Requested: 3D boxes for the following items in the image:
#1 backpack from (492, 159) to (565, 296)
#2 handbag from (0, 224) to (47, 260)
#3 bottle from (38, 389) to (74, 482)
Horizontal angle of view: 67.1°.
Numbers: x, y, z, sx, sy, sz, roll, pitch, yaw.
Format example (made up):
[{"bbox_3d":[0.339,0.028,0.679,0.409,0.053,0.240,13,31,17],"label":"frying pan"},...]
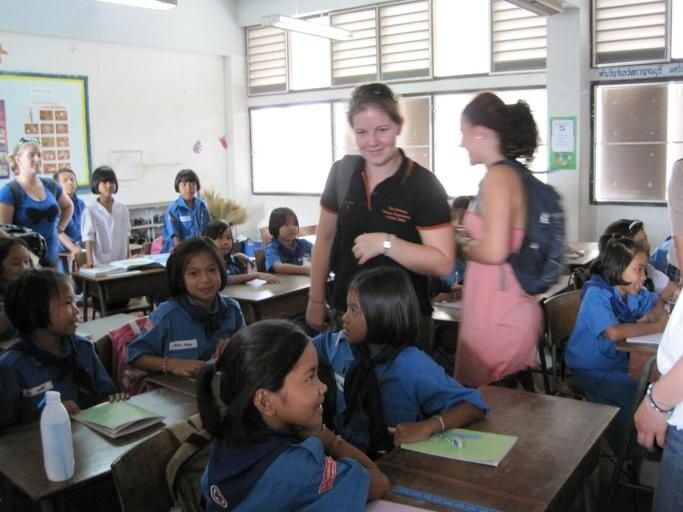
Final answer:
[{"bbox_3d":[0.622,-0.060,1.751,0.231,0.386,0.262,0,-2,40],"label":"backpack"},{"bbox_3d":[-1.880,-0.085,3.038,0.239,0.095,0.197,26,6,-2],"label":"handbag"},{"bbox_3d":[-0.789,0.475,1.421,0.081,0.218,0.189,-8,12,-31],"label":"bottle"}]
